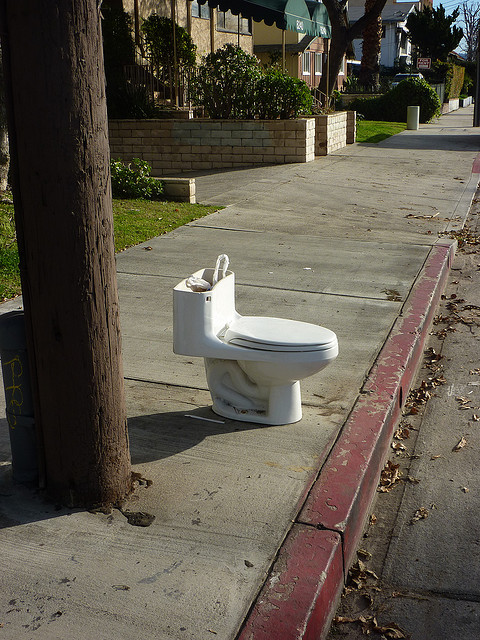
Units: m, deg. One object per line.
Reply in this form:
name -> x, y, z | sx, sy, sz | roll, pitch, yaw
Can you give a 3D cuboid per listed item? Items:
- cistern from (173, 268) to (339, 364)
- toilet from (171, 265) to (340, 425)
cistern -> 0.095, -0.008, 3.492 | 0.855, 0.408, 0.480 | 2, 19, 21
toilet -> 0.100, 0.190, 3.559 | 0.873, 0.913, 0.475 | 3, 14, 11
